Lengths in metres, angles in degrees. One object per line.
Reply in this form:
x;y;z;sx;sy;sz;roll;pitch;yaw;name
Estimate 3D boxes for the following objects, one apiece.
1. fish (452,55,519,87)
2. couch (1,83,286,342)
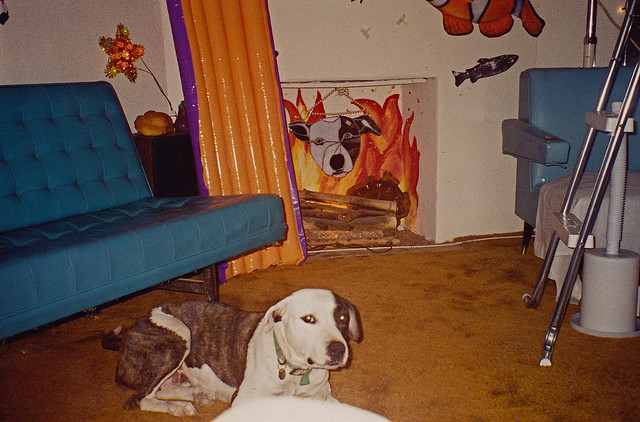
1.326;-1.135;3.683;0.500;0.175;0.080;-16;21;12;fish
-1.189;-0.176;2.623;1.348;1.086;1.129;-17;21;-37;couch
